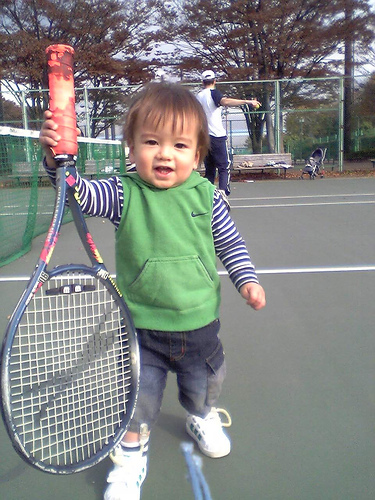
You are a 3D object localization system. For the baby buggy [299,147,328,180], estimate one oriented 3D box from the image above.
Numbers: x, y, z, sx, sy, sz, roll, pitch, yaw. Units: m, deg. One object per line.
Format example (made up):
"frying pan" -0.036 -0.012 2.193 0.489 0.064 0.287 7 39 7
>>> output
"baby buggy" 3.418 -2.346 12.056 0.544 0.849 1.184 13 20 37

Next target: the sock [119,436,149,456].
"sock" -0.149 0.533 1.198 0.057 0.047 0.078 1 1 6

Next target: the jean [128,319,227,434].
"jean" -0.041 0.369 1.289 0.335 0.332 0.125 -9 16 -29
